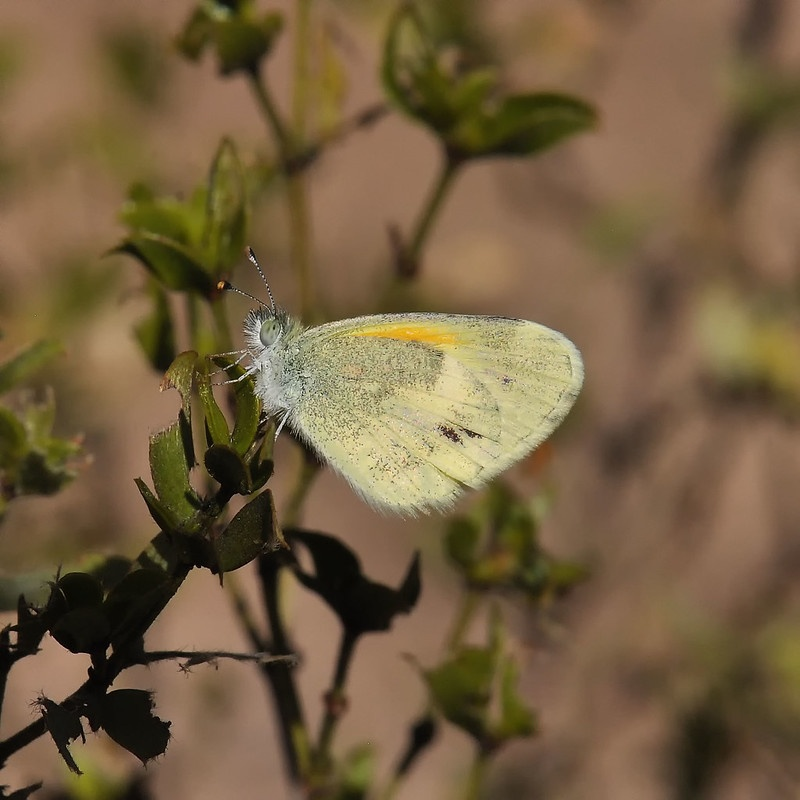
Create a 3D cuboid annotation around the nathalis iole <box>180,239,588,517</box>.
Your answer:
[{"bbox_3d":[-0.025,0.002,1.414,0.339,0.201,0.278,32,-3,-10],"label":"nathalis iole"}]
